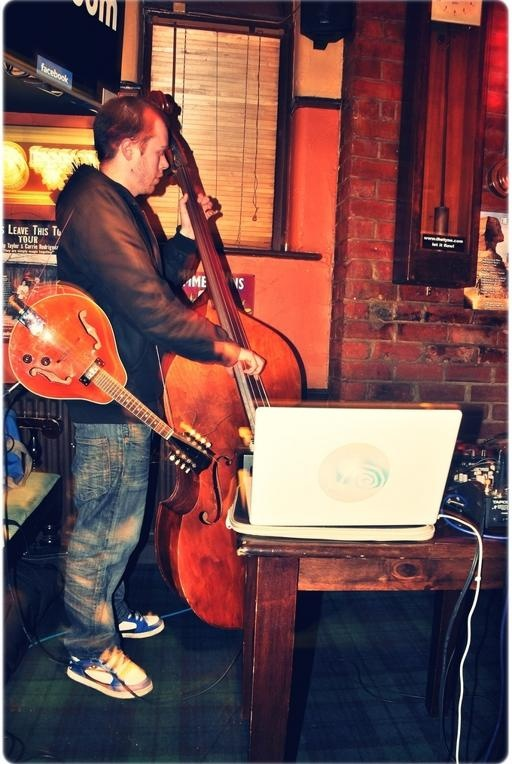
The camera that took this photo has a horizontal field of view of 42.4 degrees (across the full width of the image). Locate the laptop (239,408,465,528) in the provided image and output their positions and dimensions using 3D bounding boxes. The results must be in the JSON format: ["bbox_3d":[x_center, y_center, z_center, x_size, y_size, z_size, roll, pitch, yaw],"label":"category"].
[{"bbox_3d":[0.193,0.157,1.292,0.362,0.262,0.262,0,32,-2],"label":"laptop"}]

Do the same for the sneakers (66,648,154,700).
[{"bbox_3d":[-0.421,0.841,1.959,0.260,0.125,0.115,11,-1,2],"label":"sneakers"}]

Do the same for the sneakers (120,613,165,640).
[{"bbox_3d":[-0.387,0.803,2.214,0.167,0.074,0.062,-2,5,-20],"label":"sneakers"}]

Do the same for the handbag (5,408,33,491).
[{"bbox_3d":[-0.828,0.243,2.232,0.061,0.220,0.113,-3,2,33],"label":"handbag"}]

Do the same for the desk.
[{"bbox_3d":[0.243,0.538,1.614,0.505,0.494,0.516,0,-3,-1],"label":"desk"}]

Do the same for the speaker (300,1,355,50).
[{"bbox_3d":[0.247,-1.251,2.299,0.143,0.073,0.206,4,-31,1],"label":"speaker"}]

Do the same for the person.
[{"bbox_3d":[-0.328,0.042,1.964,0.524,1.675,0.485,-3,13,-20],"label":"person"}]
